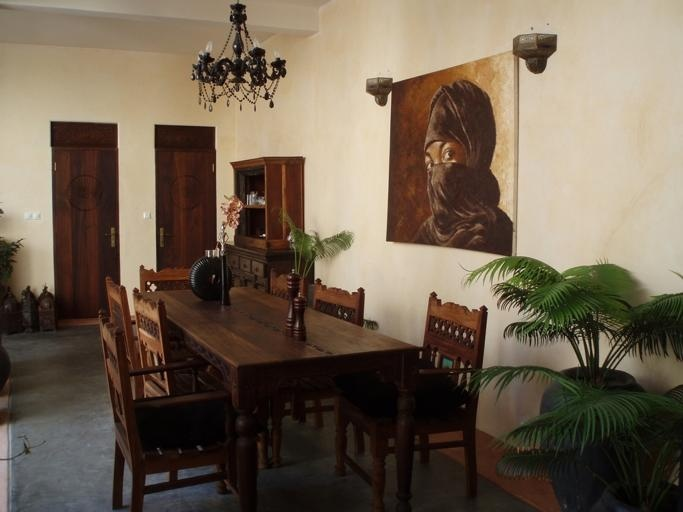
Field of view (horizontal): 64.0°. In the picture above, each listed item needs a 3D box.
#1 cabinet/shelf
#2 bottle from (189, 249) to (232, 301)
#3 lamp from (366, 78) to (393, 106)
[{"bbox_3d":[-0.777,-0.312,6.350,0.545,2.155,1.402,-2,6,-29],"label":"cabinet/shelf"},{"bbox_3d":[-1.054,0.173,4.461,0.344,0.476,0.149,0,7,-10],"label":"bottle"},{"bbox_3d":[0.332,-1.524,5.146,0.219,0.330,0.222,12,17,42],"label":"lamp"}]
